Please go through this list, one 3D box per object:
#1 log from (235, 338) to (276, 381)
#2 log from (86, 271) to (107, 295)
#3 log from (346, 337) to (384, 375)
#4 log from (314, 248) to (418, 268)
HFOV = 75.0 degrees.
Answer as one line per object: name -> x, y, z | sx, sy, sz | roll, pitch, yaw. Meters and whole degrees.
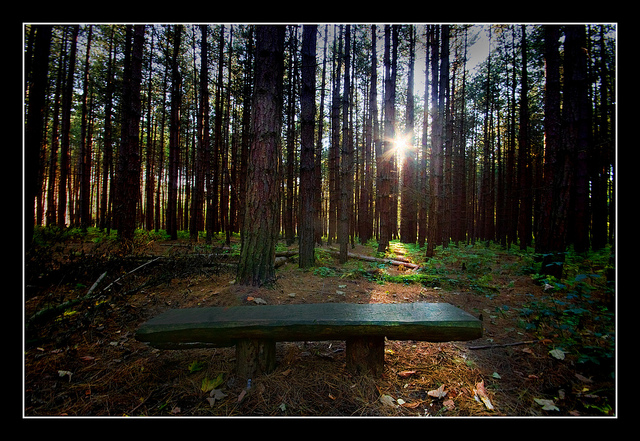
log -> -1.130, 2.526, 7.725 | 0.791, 0.732, 0.749 | 0, -11, 0
log -> -4.812, 1.311, 8.978 | 0.095, 0.114, 0.511 | -26, 31, 19
log -> 0.850, 2.465, 7.805 | 0.762, 0.718, 0.680 | 3, -7, 0
log -> 1.452, 1.226, 13.738 | 3.648, 0.292, 0.188 | 6, 30, 14
